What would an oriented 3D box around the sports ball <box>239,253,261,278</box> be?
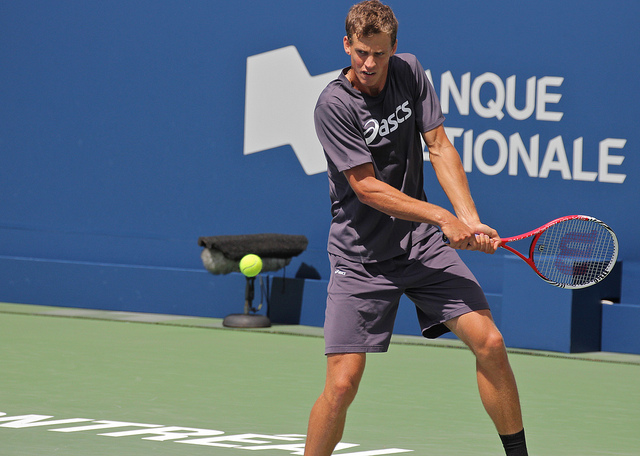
[{"bbox_3d":[-0.888,0.492,10.953,0.199,0.279,0.260,-2,5,-40],"label":"sports ball"}]
